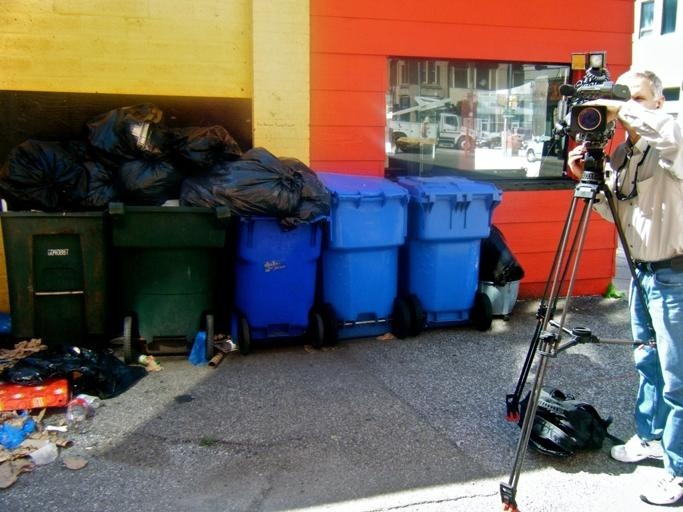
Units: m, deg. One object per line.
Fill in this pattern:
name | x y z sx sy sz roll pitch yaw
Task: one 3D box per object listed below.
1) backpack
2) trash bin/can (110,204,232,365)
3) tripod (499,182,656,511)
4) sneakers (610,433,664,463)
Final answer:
backpack | 1.550 1.076 4.082 0.706 0.264 0.497 15 2 35
trash bin/can | -1.686 0.270 5.276 1.309 1.236 0.986 -10 -6 41
tripod | 1.432 0.413 3.789 0.705 1.820 1.598 4 16 24
sneakers | 1.871 1.219 3.821 0.243 0.080 0.178 -4 7 -7
